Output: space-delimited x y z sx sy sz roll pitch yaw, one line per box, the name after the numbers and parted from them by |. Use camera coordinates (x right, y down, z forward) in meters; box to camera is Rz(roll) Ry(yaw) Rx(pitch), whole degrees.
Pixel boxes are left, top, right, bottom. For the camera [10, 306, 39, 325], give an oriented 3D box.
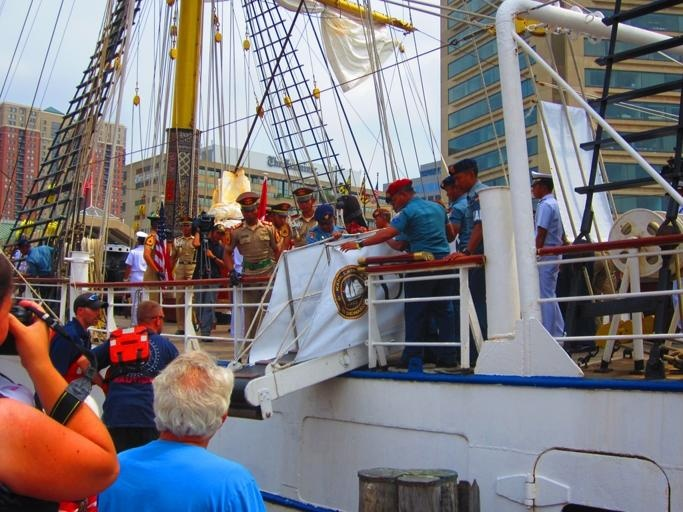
-1.346 0.252 2.837 0.103 0.040 0.076 34 22 6 | camera

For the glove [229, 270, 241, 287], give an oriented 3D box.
-1.047 0.203 6.583 0.106 0.150 0.188 4 -15 -13 | glove

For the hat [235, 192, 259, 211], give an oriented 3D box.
-1.141 -0.681 8.135 0.245 0.320 0.353 3 -14 -10 | hat

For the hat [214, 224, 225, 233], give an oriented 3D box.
-1.830 -0.408 10.010 0.108 0.147 0.122 -20 15 -5 | hat

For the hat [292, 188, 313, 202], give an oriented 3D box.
-0.484 -0.796 8.548 0.197 0.244 0.118 -4 6 4 | hat

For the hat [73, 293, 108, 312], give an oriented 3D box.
-2.082 0.377 5.559 0.233 0.128 0.161 -5 -4 -6 | hat

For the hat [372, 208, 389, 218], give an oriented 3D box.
0.563 -0.613 9.477 0.245 0.089 0.253 -1 -7 28 | hat
